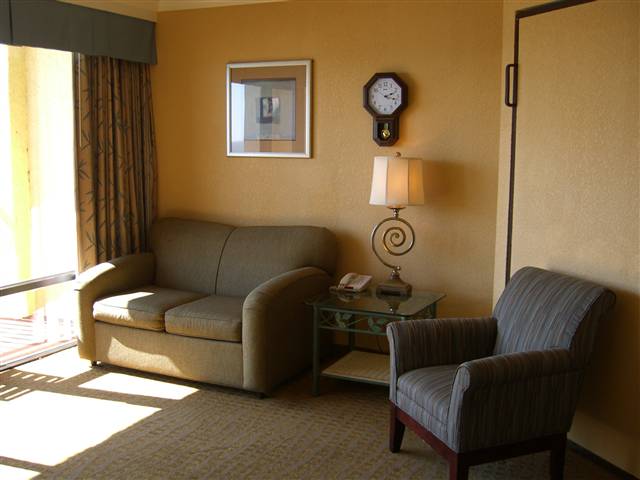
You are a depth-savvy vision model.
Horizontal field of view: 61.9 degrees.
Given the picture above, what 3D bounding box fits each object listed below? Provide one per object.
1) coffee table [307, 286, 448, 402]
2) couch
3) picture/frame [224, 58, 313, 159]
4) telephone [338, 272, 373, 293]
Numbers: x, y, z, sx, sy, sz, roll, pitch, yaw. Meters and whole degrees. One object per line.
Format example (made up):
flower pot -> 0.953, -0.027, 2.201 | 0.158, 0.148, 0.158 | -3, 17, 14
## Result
coffee table -> 0.340, 0.599, 3.822 | 0.867, 0.710, 0.707 | 1, 3, 34
couch -> -0.835, 0.449, 4.150 | 1.735, 1.028, 1.009 | 5, 14, 20
picture/frame -> -0.394, -1.115, 4.460 | 0.802, 0.868, 0.060 | 2, 5, 22
telephone -> 0.258, 0.313, 3.917 | 0.136, 0.066, 0.173 | 4, 14, 14
